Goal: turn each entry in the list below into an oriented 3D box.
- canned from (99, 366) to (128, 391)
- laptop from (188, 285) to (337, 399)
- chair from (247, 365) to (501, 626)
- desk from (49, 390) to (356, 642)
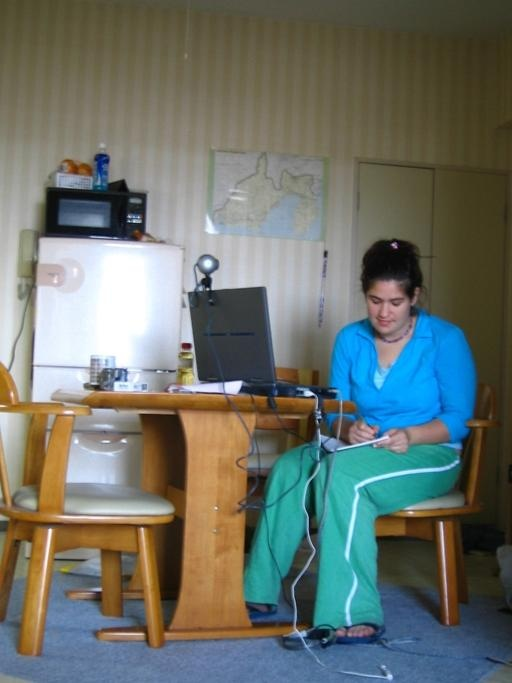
[{"bbox_3d":[-0.411,0.102,1.840,0.065,0.083,0.085,2,-1,8],"label":"canned"},{"bbox_3d":[0.040,0.014,1.914,0.343,0.277,0.394,5,-6,-38],"label":"laptop"},{"bbox_3d":[0.405,0.561,2.475,0.703,0.963,0.779,3,-11,-11],"label":"chair"},{"bbox_3d":[-0.176,0.413,2.042,0.837,0.689,0.790,0,-1,-16],"label":"desk"}]
